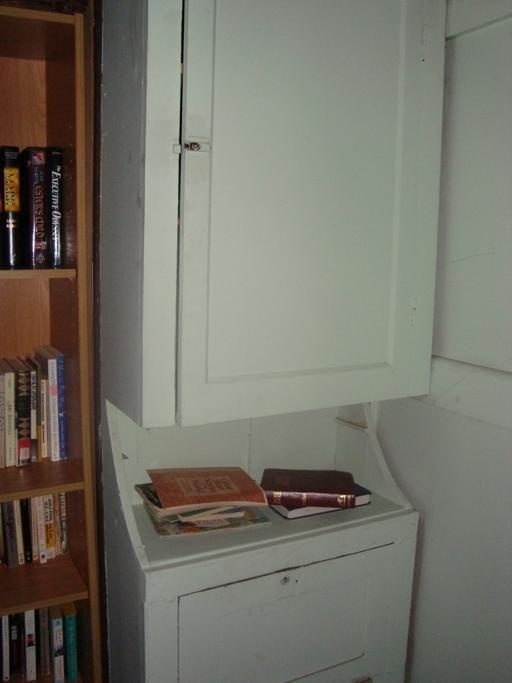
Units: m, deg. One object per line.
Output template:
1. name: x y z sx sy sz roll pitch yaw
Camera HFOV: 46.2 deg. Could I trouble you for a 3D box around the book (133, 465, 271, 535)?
1. book: -0.104 0.306 1.167 0.135 0.043 0.145 4 7 -28
